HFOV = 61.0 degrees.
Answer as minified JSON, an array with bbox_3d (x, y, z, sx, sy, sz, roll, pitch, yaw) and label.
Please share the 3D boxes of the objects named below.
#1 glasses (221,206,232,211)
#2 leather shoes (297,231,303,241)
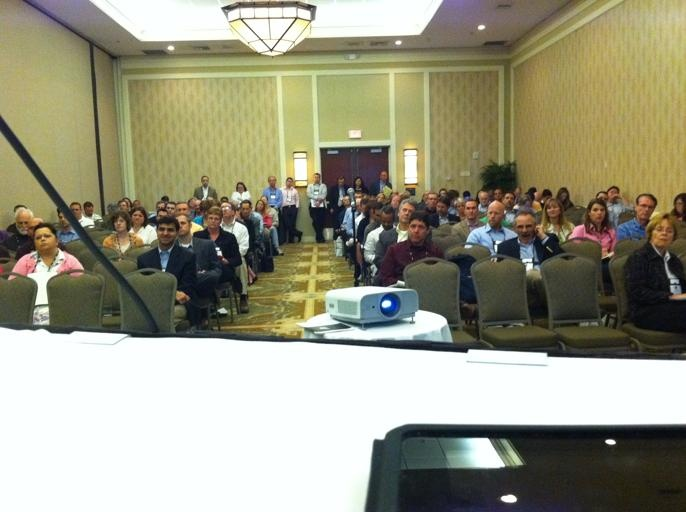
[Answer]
[{"bbox_3d":[-1.568,-0.642,7.826,0.085,0.042,0.088,-3,-10,5],"label":"glasses"},{"bbox_3d":[-1.128,-0.548,15.221,0.121,0.213,0.184,-6,22,-17],"label":"leather shoes"}]
